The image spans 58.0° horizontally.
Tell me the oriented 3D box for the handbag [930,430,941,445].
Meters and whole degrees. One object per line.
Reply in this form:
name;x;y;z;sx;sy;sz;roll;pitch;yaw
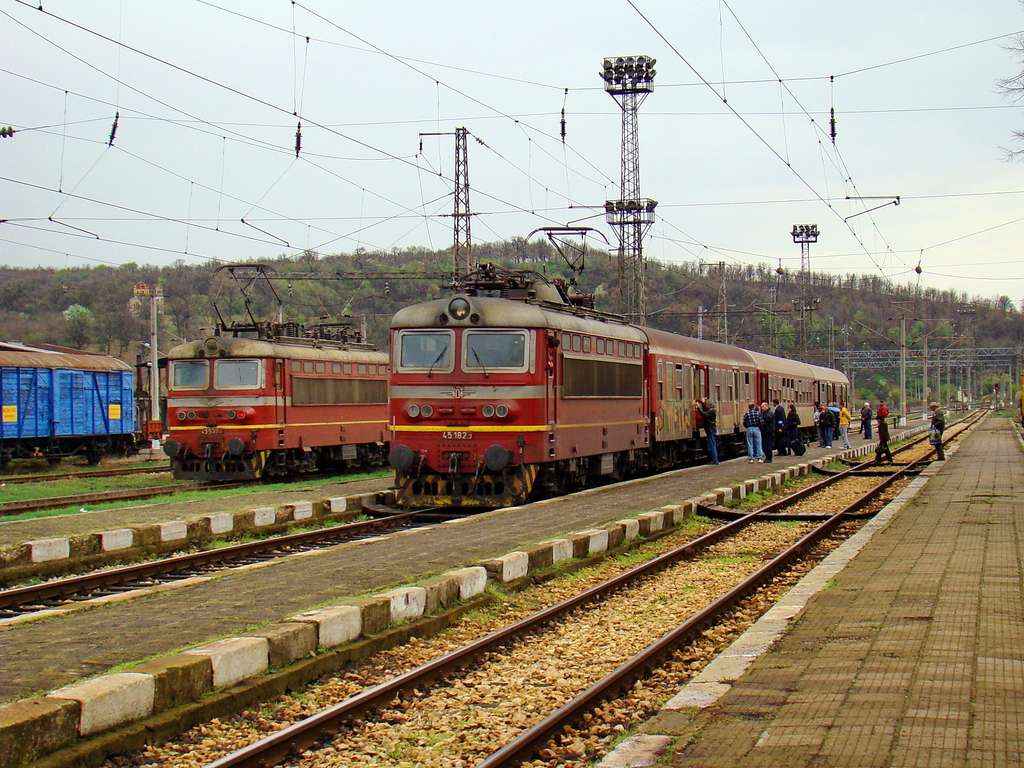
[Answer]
handbag;15.733;1.883;34.379;0.364;0.393;0.677;3;4;13

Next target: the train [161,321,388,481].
train;-7.372;0.479;30.690;3.058;4.973;11.107;-2;0;17

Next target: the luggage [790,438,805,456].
luggage;10.918;2.352;35.404;0.436;0.546;1.476;0;0;17
